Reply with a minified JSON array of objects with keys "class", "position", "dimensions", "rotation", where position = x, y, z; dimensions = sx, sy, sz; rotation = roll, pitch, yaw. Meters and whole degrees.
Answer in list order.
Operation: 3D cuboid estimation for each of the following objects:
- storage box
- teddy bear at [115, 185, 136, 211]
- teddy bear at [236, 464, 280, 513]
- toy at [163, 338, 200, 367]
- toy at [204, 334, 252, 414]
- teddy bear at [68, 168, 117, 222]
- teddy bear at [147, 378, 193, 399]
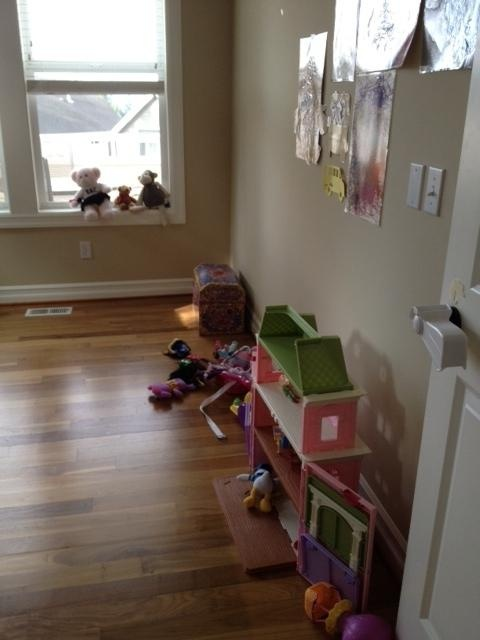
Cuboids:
[{"class":"storage box","position":[-0.124,-0.127,3.213],"dimensions":[0.341,0.355,0.427],"rotation":[-3,21,-5]},{"class":"teddy bear","position":[-0.806,-0.834,3.501],"dimensions":[0.195,0.206,0.140],"rotation":[-1,10,-14]},{"class":"teddy bear","position":[0.059,0.565,1.686],"dimensions":[0.136,0.093,0.193],"rotation":[-1,21,0]},{"class":"toy","position":[-0.319,0.175,2.721],"dimensions":[0.159,0.060,0.126],"rotation":[43,67,9]},{"class":"toy","position":[-0.042,0.249,2.535],"dimensions":[0.332,0.200,0.179],"rotation":[4,25,3]},{"class":"teddy bear","position":[-1.026,-0.871,3.387],"dimensions":[0.291,0.357,0.240],"rotation":[-15,6,-5]},{"class":"teddy bear","position":[-0.338,0.334,2.397],"dimensions":[0.118,0.046,0.109],"rotation":[-11,11,-43]}]
